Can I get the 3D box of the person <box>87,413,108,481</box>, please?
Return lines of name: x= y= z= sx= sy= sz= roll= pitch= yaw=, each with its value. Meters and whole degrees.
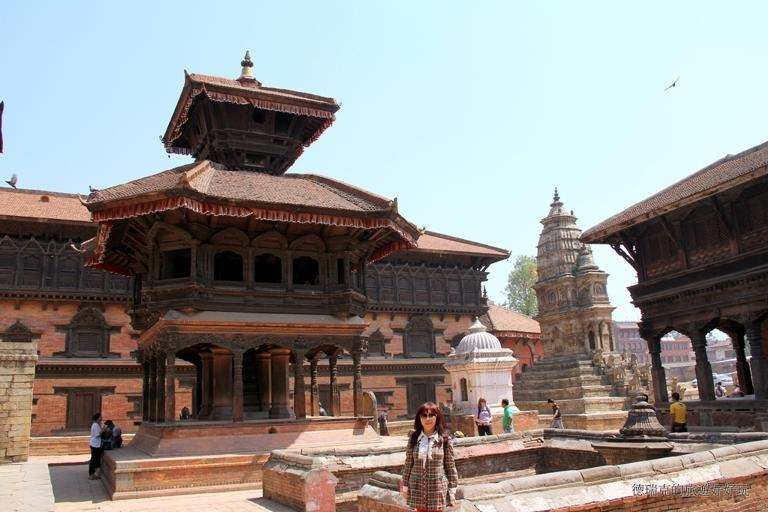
person: x=-9.204 y=5.980 z=19.128 sx=0.380 sy=1.929 sz=1.205 roll=3 pitch=-20 yaw=-24

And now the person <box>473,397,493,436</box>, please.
person: x=3.363 y=5.445 z=20.607 sx=0.504 sy=1.207 sz=1.528 roll=-8 pitch=-17 yaw=6

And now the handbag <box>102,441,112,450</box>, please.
handbag: x=-8.918 y=5.987 z=19.159 sx=0.406 sy=0.295 sz=0.191 roll=3 pitch=-8 yaw=-18
